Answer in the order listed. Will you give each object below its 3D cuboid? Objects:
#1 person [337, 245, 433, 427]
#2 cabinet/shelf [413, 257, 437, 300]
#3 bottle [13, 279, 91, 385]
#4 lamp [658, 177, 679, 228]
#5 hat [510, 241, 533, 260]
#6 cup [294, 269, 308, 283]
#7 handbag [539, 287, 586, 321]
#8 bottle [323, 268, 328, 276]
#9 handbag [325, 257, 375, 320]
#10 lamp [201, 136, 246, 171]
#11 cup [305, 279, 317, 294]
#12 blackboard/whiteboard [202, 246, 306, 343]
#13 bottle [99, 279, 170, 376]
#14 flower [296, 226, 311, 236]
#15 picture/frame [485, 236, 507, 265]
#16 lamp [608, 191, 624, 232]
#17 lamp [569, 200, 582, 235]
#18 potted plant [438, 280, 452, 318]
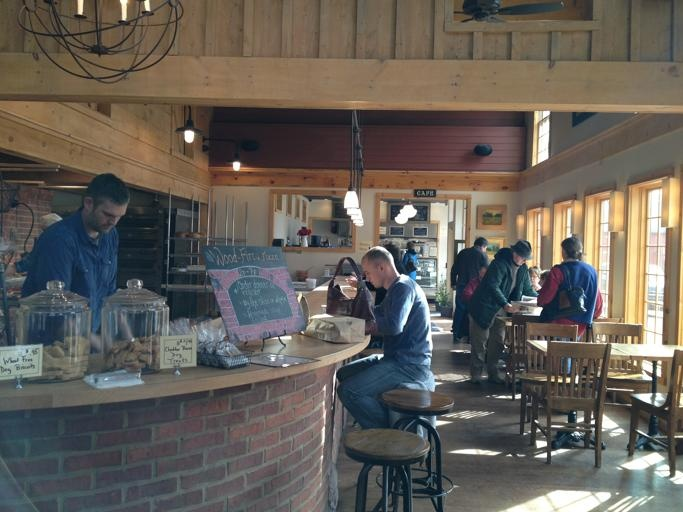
[{"bbox_3d":[0.351,0.739,5.747,0.870,1.578,0.752,0,-7,11],"label":"person"},{"bbox_3d":[2.035,0.491,18.619,0.600,1.230,0.657,-2,1,33],"label":"cabinet/shelf"},{"bbox_3d":[-1.661,0.428,4.057,0.415,0.594,0.421,-4,-3,0],"label":"bottle"},{"bbox_3d":[3.342,-0.556,7.147,0.197,0.494,0.169,6,9,35],"label":"lamp"},{"bbox_3d":[2.156,-0.030,8.294,0.231,0.106,0.207,25,13,-29],"label":"hat"},{"bbox_3d":[-0.770,0.357,12.805,0.187,0.180,0.179,1,-1,0],"label":"cup"},{"bbox_3d":[2.222,0.467,7.015,0.150,0.307,0.324,-4,-1,-40],"label":"handbag"},{"bbox_3d":[-0.309,0.293,13.364,0.107,0.205,0.109,0,-5,0],"label":"bottle"},{"bbox_3d":[0.075,0.294,6.452,0.544,0.695,0.289,-3,-13,15],"label":"handbag"},{"bbox_3d":[-2.227,-2.070,13.776,0.529,0.855,1.016,-3,20,-3],"label":"lamp"},{"bbox_3d":[-0.480,0.418,10.351,0.128,0.179,0.201,-1,-7,3],"label":"cup"},{"bbox_3d":[-0.553,0.238,4.551,0.073,0.651,0.715,-23,-13,35],"label":"blackboard/whiteboard"},{"bbox_3d":[-1.249,0.405,4.157,0.354,0.519,0.353,3,-8,0],"label":"bottle"},{"bbox_3d":[-0.788,-0.456,14.011,0.257,0.228,0.255,0,9,-3],"label":"flower"},{"bbox_3d":[2.417,-0.115,11.087,0.499,0.439,0.049,0,-6,-2],"label":"picture/frame"},{"bbox_3d":[3.254,-0.540,8.305,0.182,0.455,0.203,4,8,21],"label":"lamp"},{"bbox_3d":[3.188,-0.524,9.522,0.149,0.466,0.289,3,8,19],"label":"lamp"},{"bbox_3d":[2.141,0.918,14.719,0.327,0.676,0.843,1,7,6],"label":"potted plant"}]
